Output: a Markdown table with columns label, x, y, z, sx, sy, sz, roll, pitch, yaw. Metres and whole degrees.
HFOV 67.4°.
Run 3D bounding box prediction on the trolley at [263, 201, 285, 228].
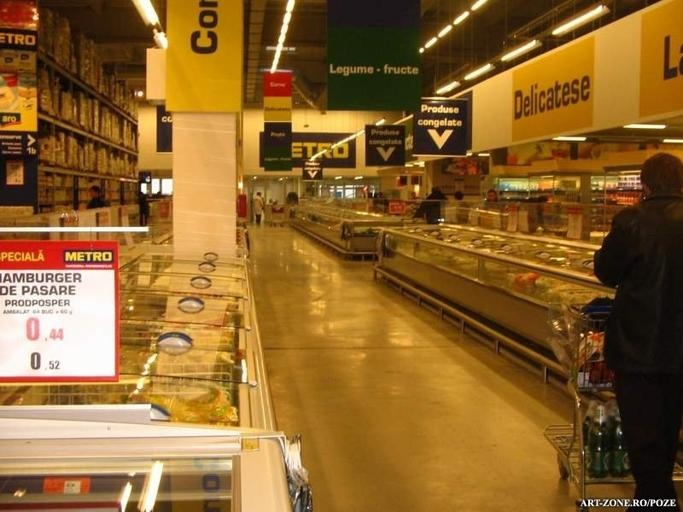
| label | x | y | z | sx | sy | sz | roll | pitch | yaw |
| --- | --- | --- | --- | --- | --- | --- | --- | --- | --- |
| trolley | -3.715 | -2.329 | 28.028 | 1.358 | 1.467 | 1.439 | 2 | 3 | 12 |
